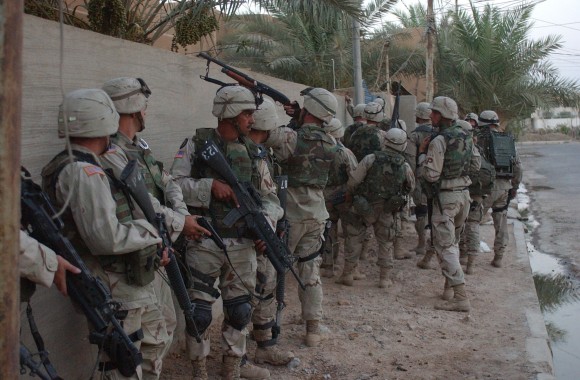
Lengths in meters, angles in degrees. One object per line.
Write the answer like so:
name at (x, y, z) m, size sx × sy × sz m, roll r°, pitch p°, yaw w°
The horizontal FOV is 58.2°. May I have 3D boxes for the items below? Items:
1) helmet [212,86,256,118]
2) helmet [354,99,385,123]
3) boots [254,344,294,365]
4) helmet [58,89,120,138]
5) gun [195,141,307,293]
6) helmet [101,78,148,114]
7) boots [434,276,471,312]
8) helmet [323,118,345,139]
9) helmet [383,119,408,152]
helmet at (-0.515, -0.802, 4.735) m, size 0.329 × 0.269 × 0.280 m, roll -3°, pitch 11°, yaw -1°
helmet at (1.278, -1.268, 8.265) m, size 0.413 × 0.333 × 0.324 m, roll -21°, pitch 28°, yaw -26°
boots at (-0.156, 1.681, 5.419) m, size 0.415 × 0.256 × 0.181 m, roll -1°, pitch 8°, yaw -2°
helmet at (-1.505, -0.534, 3.917) m, size 0.350 × 0.308 × 0.393 m, roll -1°, pitch -5°, yaw 0°
gun at (-0.404, 0.236, 4.926) m, size 0.492 × 1.759 × 0.192 m, roll -31°, pitch 7°, yaw -17°
helmet at (-1.303, -0.780, 4.238) m, size 0.318 × 0.207 × 0.311 m, roll -6°, pitch 33°, yaw 2°
boots at (2.067, 1.419, 6.991) m, size 0.627 × 0.493 × 0.248 m, roll 2°, pitch 1°, yaw 33°
helmet at (0.616, -0.846, 7.359) m, size 0.246 × 0.277 × 0.332 m, roll 26°, pitch 20°, yaw 12°
helmet at (1.513, -0.748, 7.378) m, size 0.293 × 0.312 × 0.377 m, roll 27°, pitch 7°, yaw 9°
